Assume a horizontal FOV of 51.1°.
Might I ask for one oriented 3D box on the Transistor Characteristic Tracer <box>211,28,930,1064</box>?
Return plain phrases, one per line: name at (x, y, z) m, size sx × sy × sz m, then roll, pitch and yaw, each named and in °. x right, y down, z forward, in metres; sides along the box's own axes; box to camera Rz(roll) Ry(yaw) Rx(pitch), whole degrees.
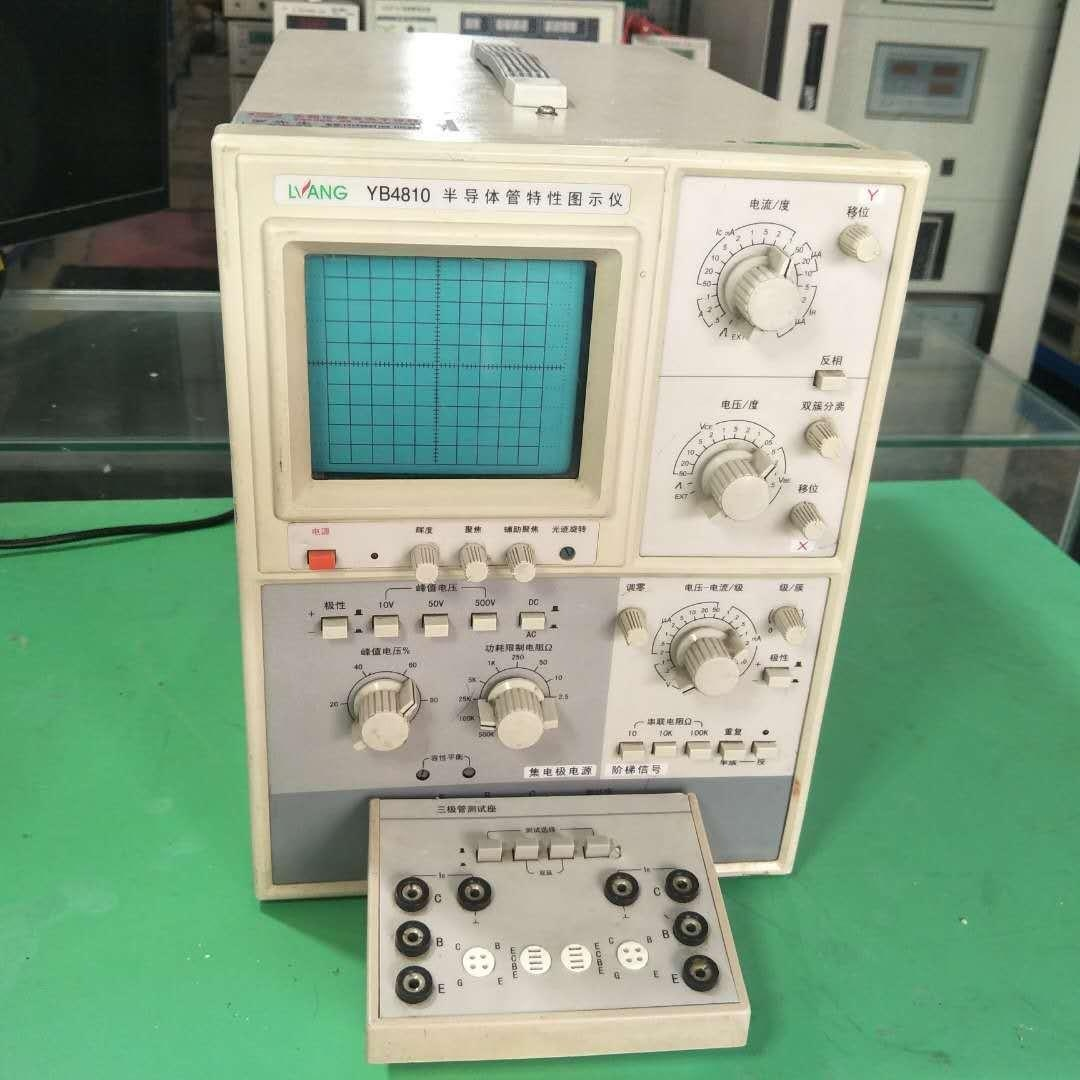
Transistor Characteristic Tracer at (0.014, 0.098, 1.398) m, size 0.700 × 1.247 × 0.890 m, roll 1°, pitch 21°, yaw -5°
